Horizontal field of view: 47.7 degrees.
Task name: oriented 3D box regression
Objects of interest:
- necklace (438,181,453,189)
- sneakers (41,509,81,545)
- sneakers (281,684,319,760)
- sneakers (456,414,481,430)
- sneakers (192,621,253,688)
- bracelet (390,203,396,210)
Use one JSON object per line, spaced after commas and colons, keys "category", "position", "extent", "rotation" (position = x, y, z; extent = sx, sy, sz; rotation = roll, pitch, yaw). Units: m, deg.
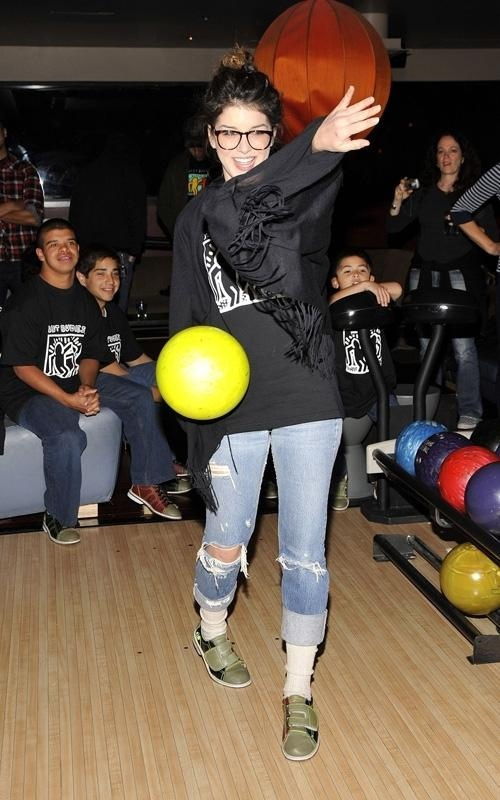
{"category": "necklace", "position": [1.237, -1.241, 3.273], "extent": [0.046, 0.060, 0.018], "rotation": [22, 57, 17]}
{"category": "sneakers", "position": [-0.773, 0.499, 2.208], "extent": [0.158, 0.095, 0.152], "rotation": [-1, 5, -12]}
{"category": "sneakers", "position": [0.112, 0.628, 1.078], "extent": [0.051, 0.049, 0.134], "rotation": [-1, -8, 1]}
{"category": "sneakers", "position": [1.299, 0.118, 3.079], "extent": [0.093, 0.089, 0.230], "rotation": [0, -3, 8]}
{"category": "sneakers", "position": [-0.064, 0.588, 1.381], "extent": [0.083, 0.079, 0.193], "rotation": [-5, 28, -37]}
{"category": "bracelet", "position": [0.953, -1.169, 3.387], "extent": [0.029, 0.043, 0.033], "rotation": [-1, -18, -3]}
